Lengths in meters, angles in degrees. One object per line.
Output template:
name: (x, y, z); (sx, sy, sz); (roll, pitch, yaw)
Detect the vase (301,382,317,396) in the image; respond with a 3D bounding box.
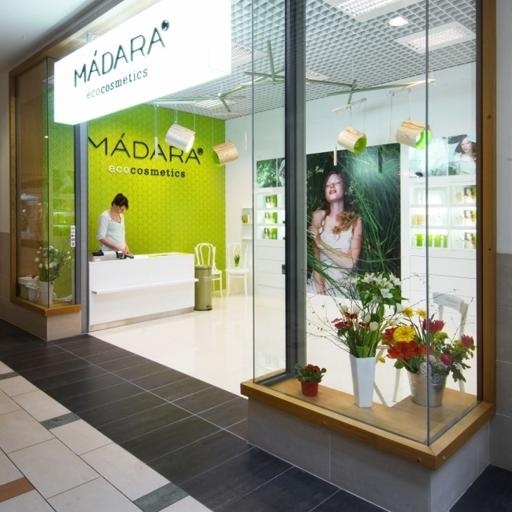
vase: (0.280, 0.698, 2.248); (0.064, 0.054, 0.068); (0, -5, 0)

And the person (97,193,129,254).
person: (-1.962, -0.429, 5.952); (0.405, 0.801, 0.296); (-2, 3, -40)

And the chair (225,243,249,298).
chair: (-0.339, 0.238, 8.457); (0.467, 1.044, 0.850); (0, 3, -3)

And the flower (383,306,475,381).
flower: (0.805, 0.433, 1.964); (0.324, 0.273, 0.371); (-12, 9, -12)

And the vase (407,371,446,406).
vase: (0.760, 0.559, 1.932); (0.155, 0.140, 0.175); (-1, -6, 29)

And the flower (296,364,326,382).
flower: (0.280, 0.612, 2.257); (0.184, 0.092, 0.044); (3, 4, 44)

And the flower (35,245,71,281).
flower: (-2.358, 0.074, 5.098); (0.350, 0.473, 0.390); (1, -1, 39)

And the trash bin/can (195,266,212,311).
trash bin/can: (-0.846, 0.523, 6.863); (0.275, 0.703, 0.280); (0, 2, -9)
